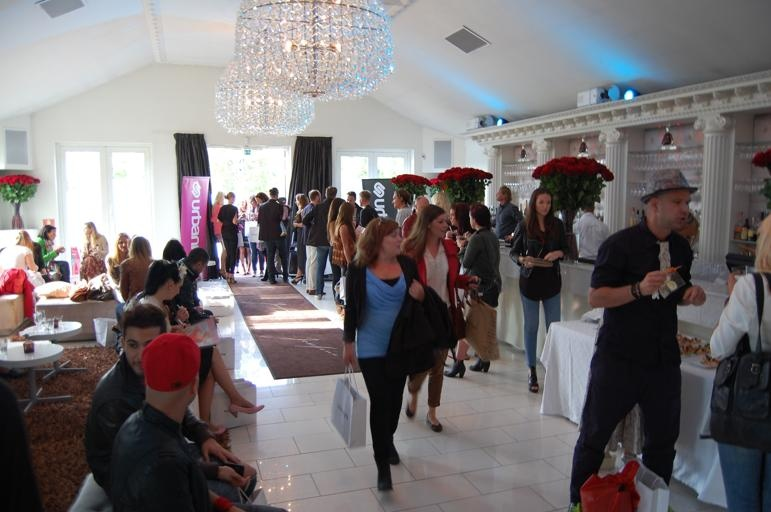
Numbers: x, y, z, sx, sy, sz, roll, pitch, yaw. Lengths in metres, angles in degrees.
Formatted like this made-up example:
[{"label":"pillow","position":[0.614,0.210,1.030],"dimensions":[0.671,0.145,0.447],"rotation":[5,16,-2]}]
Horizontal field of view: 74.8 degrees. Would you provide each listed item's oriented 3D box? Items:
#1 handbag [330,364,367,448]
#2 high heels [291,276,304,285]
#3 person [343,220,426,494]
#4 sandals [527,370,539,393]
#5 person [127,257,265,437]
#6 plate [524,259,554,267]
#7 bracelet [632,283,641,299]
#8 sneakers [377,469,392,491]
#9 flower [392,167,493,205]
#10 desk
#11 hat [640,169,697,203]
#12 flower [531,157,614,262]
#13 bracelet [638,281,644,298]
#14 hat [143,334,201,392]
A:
[{"label":"handbag","position":[-0.262,1.077,3.722],"dimensions":[0.148,0.480,0.498],"rotation":[-1,8,-20]},{"label":"high heels","position":[-1.905,0.549,10.955],"dimensions":[0.134,0.110,0.246],"rotation":[-3,-7,45]},{"label":"person","position":[-0.009,0.716,3.734],"dimensions":[0.599,1.960,0.405],"rotation":[0,8,3]},{"label":"sandals","position":[1.528,1.306,5.224],"dimensions":[0.086,0.077,0.274],"rotation":[-2,10,8]},{"label":"person","position":[-1.612,0.788,4.214],"dimensions":[1.004,1.532,0.628],"rotation":[-6,4,-27]},{"label":"plate","position":[1.550,0.074,5.040],"dimensions":[0.287,0.101,0.088],"rotation":[-2,9,-8]},{"label":"bracelet","position":[1.485,0.213,2.994],"dimensions":[0.030,0.059,0.078],"rotation":[6,48,5]},{"label":"sneakers","position":[-0.003,1.651,3.687],"dimensions":[0.063,0.138,0.197],"rotation":[-1,-19,4]},{"label":"flower","position":[1.139,-1.070,7.401],"dimensions":[1.054,0.484,1.066],"rotation":[-5,8,-37]},{"label":"desk","position":[1.898,1.152,3.881],"dimensions":[1.067,0.676,1.261],"rotation":[6,2,-22]},{"label":"hat","position":[1.724,-0.438,3.091],"dimensions":[0.313,0.192,0.380],"rotation":[-3,-1,-3]},{"label":"flower","position":[2.025,-0.592,5.846],"dimensions":[0.936,1.190,1.043],"rotation":[-1,7,10]},{"label":"bracelet","position":[1.498,0.204,2.972],"dimensions":[0.028,0.066,0.057],"rotation":[-14,-22,21]},{"label":"hat","position":[-1.004,0.468,2.462],"dimensions":[0.239,0.187,0.340],"rotation":[-10,25,-3]}]
